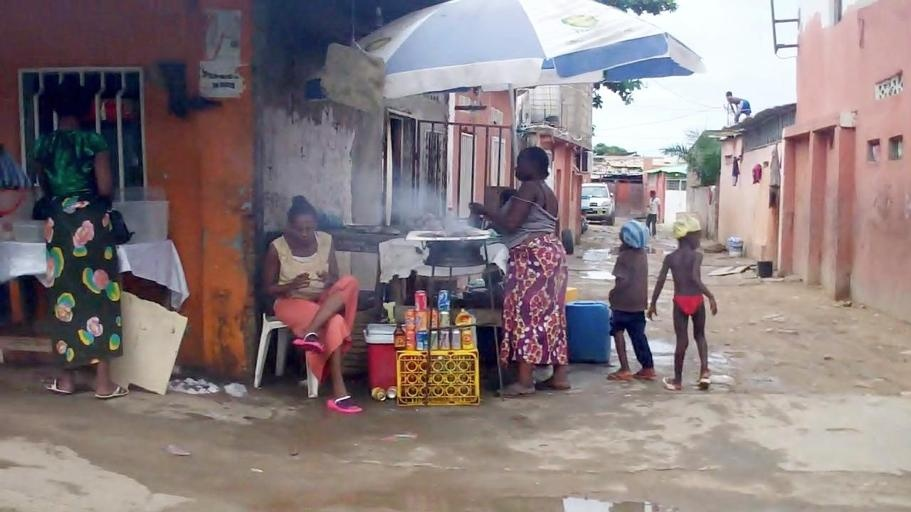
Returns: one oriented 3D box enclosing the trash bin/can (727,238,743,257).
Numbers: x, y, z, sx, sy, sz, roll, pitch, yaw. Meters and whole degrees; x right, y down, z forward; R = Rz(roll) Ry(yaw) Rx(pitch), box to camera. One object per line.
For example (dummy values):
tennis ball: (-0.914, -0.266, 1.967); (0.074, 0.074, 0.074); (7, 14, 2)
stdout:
trash bin/can: (7.432, -0.262, 21.420); (0.369, 0.495, 0.459); (1, 2, 22)

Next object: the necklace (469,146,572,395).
necklace: (0.849, 0.152, 9.054); (0.919, 2.771, 0.448); (1, 2, 6)

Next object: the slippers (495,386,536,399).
slippers: (0.668, 1.482, 8.965); (0.430, 0.156, 0.150); (4, -3, 1)

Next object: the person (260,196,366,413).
person: (-1.508, 0.395, 8.923); (0.926, 2.467, 1.197); (1, 0, 14)

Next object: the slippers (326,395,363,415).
slippers: (-1.193, 1.541, 8.478); (0.176, 0.087, 0.300); (-3, 3, -40)

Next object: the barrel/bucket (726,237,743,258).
barrel/bucket: (7.401, -0.265, 21.595); (0.496, 0.491, 0.487); (-1, -1, 0)

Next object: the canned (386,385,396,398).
canned: (-0.708, 1.473, 8.819); (0.096, 0.107, 0.098); (3, 24, 1)

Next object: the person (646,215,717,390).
person: (2.642, 0.502, 9.385); (0.733, 1.973, 0.868); (1, 2, 17)

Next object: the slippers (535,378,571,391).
slippers: (1.099, 1.431, 9.202); (0.411, 0.156, 0.146); (3, -1, 12)

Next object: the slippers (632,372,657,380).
slippers: (2.211, 1.381, 9.458); (0.264, 0.100, 0.103); (3, 3, 29)

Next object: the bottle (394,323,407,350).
bottle: (-0.617, 0.881, 8.877); (0.129, 0.256, 0.227); (1, 2, -3)

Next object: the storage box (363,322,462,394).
storage box: (-0.688, 1.155, 9.094); (0.673, 0.668, 0.495); (0, 0, 9)

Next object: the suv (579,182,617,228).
suv: (6.196, -2.254, 34.964); (1.316, 1.273, 2.784); (-1, -2, 9)

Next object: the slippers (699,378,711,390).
slippers: (2.792, 1.411, 9.022); (0.081, 0.077, 0.185); (-2, -5, 2)

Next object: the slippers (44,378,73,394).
slippers: (-4.121, 1.347, 8.343); (0.262, 0.088, 0.143); (15, 6, 15)

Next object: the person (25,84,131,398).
person: (-3.582, -0.124, 8.642); (1.038, 2.907, 1.504); (1, 0, -10)

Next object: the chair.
chair: (-1.918, 1.085, 9.078); (0.761, 0.782, 0.710); (2, -8, -19)

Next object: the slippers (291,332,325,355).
slippers: (-1.535, 0.888, 8.419); (0.153, 0.159, 0.415); (31, -24, -32)

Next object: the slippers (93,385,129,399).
slippers: (-3.570, 1.397, 8.342); (0.123, 0.076, 0.296); (15, 10, 40)

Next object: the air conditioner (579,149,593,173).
air conditioner: (4.777, -3.535, 29.828); (0.544, 0.924, 1.043); (0, 2, 14)

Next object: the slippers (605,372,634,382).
slippers: (1.907, 1.377, 9.384); (0.216, 0.079, 0.125); (3, 0, 11)

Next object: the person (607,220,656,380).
person: (2.076, 0.502, 9.571); (0.590, 1.800, 0.659); (1, 1, 12)
